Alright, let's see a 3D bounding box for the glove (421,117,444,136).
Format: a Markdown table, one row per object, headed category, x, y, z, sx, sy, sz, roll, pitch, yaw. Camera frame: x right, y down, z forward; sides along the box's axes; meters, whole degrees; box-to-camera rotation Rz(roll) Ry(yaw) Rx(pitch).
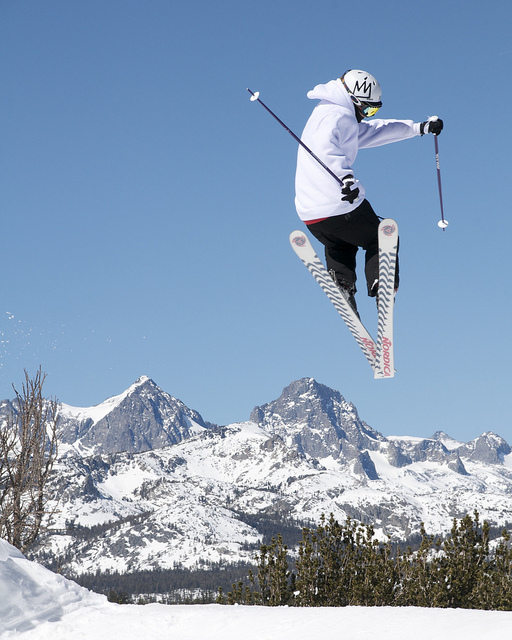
| category | x | y | z | sx | sy | sz | roll | pitch | yaw |
| --- | --- | --- | --- | --- | --- | --- | --- | --- | --- |
| glove | 3.511 | -3.872 | 22.921 | 0.395 | 0.331 | 0.319 | 4 | -2 | 8 |
